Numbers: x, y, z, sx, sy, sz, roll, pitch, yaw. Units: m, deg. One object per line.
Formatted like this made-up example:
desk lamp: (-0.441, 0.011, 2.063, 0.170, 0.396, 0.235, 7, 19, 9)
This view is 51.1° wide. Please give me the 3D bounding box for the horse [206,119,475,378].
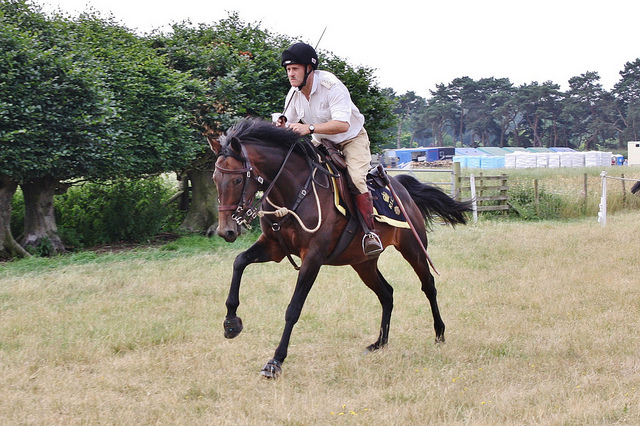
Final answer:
horse: (0.667, 0.511, 12.320, 1.710, 3.797, 6.616, -8, -4, 45)
